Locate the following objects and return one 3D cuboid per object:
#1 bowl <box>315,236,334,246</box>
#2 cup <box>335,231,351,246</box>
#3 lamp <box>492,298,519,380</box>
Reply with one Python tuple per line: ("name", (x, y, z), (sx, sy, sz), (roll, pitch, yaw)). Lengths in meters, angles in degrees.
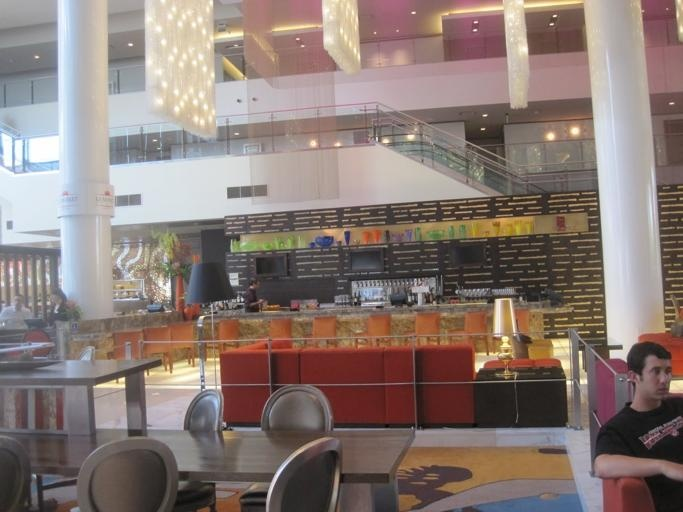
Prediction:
("bowl", (-0.375, -0.334, 15.809), (0.262, 0.167, 0.271), (-1, -2, 0))
("cup", (0.097, -0.417, 15.827), (0.298, 0.486, 0.329), (3, 3, 12))
("lamp", (2.022, 0.889, 8.578), (0.275, 0.974, 1.415), (3, 14, 13))
